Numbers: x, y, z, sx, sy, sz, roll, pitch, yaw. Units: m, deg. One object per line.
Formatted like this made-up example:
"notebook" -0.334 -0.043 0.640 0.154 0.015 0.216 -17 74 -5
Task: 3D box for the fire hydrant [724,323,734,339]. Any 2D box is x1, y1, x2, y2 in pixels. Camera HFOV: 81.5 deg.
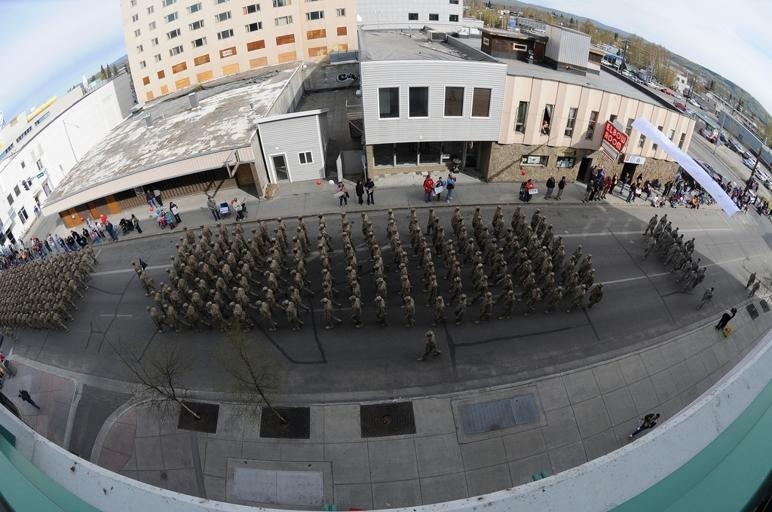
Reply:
"fire hydrant" 23.253 5.078 30.618 0.376 0.535 0.927 21 28 38

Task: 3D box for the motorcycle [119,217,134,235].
"motorcycle" -22.616 -2.559 39.157 0.794 1.469 0.802 23 42 21

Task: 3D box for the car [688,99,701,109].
"car" 60.921 -30.385 89.212 1.808 1.052 7.522 7 23 28

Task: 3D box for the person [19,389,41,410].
"person" -23.060 9.190 28.988 1.695 1.359 0.517 11 26 36

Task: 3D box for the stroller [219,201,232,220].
"stroller" -14.180 -4.028 39.452 0.983 1.411 1.295 -10 21 -14
